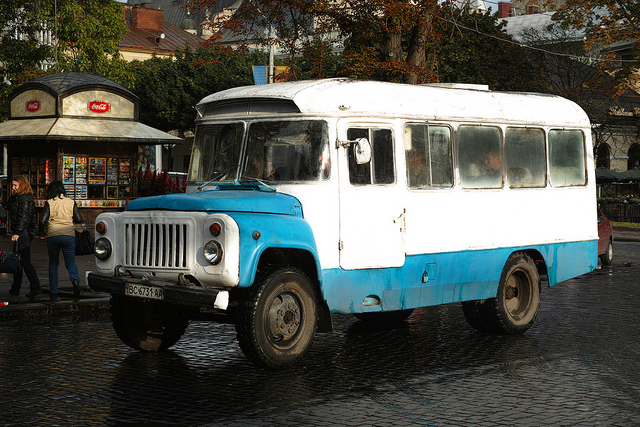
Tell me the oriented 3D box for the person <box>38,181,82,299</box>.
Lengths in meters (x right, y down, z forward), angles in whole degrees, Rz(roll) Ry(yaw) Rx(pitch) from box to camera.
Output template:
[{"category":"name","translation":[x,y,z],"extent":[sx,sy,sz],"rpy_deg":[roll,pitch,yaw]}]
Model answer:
[{"category":"person","translation":[-4.818,0.465,11.960],"extent":[0.690,2.128,0.693],"rpy_deg":[-1,4,-31]}]

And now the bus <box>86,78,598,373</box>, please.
[{"category":"bus","translation":[0.720,0.122,10.017],"extent":[7.367,3.513,3.624],"rpy_deg":[3,-4,-40]}]

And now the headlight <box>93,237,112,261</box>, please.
[{"category":"headlight","translation":[-2.778,0.457,8.231],"extent":[0.258,0.303,0.101],"rpy_deg":[4,5,37]}]

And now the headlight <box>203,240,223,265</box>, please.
[{"category":"headlight","translation":[-1.215,0.441,7.372],"extent":[0.274,0.338,0.177],"rpy_deg":[-1,1,30]}]

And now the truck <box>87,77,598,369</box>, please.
[{"category":"truck","translation":[0.690,-0.004,10.006],"extent":[7.352,3.414,3.614],"rpy_deg":[3,-4,-39]}]
